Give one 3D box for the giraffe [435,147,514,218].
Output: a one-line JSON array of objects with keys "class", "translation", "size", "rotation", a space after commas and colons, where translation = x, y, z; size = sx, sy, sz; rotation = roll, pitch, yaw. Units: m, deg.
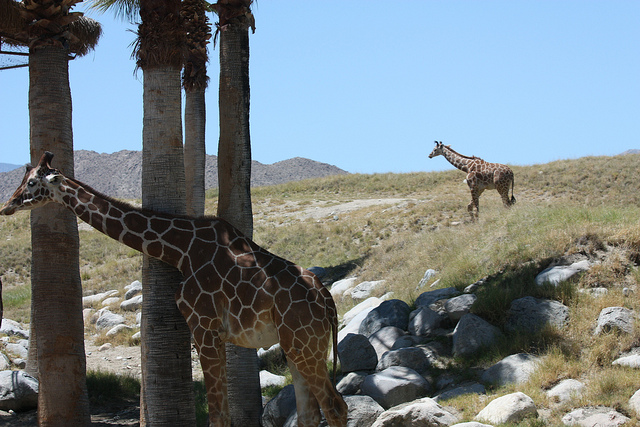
[{"class": "giraffe", "translation": [6.806, -1.473, 41.936], "size": [1.559, 2.763, 3.697], "rotation": [-4, 3, -20]}]
